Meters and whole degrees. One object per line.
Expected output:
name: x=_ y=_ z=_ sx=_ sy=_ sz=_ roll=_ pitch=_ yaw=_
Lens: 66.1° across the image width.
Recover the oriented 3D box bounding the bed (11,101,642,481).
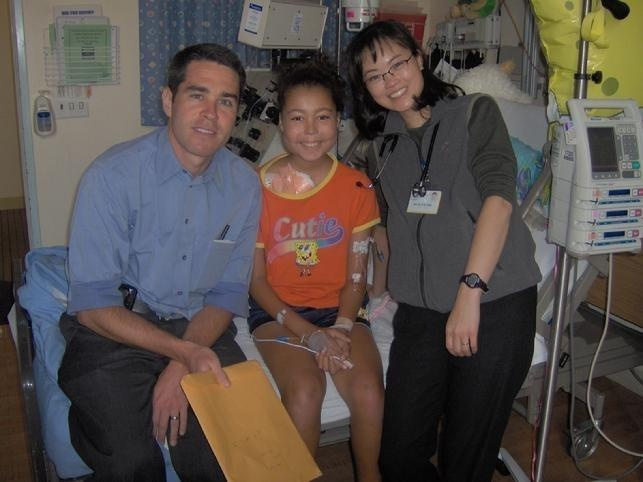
bed: x=0.057 y=0.259 z=3.019 sx=2.909 sy=2.049 sz=1.710 roll=-8 pitch=32 yaw=-11

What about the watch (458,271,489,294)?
watch: x=0.573 y=0.154 z=1.854 sx=0.072 sy=0.038 sz=0.075 roll=23 pitch=-6 yaw=37

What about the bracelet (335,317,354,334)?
bracelet: x=0.103 y=0.380 z=2.245 sx=0.061 sy=0.052 sz=0.063 roll=30 pitch=-21 yaw=-11
